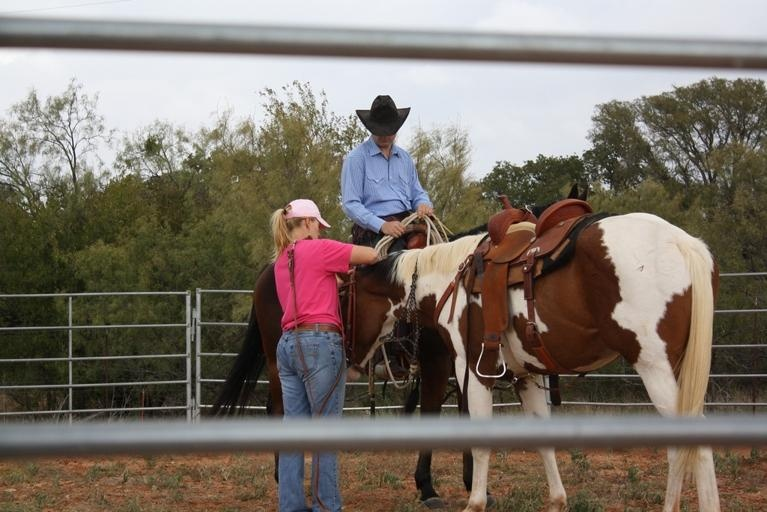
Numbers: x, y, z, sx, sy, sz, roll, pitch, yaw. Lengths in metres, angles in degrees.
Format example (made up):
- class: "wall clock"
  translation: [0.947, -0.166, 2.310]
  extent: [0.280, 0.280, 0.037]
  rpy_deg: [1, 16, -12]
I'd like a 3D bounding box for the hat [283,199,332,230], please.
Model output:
- class: "hat"
  translation: [-1.445, -0.769, 19.278]
  extent: [0.692, 0.419, 0.475]
  rpy_deg: [8, 0, -17]
